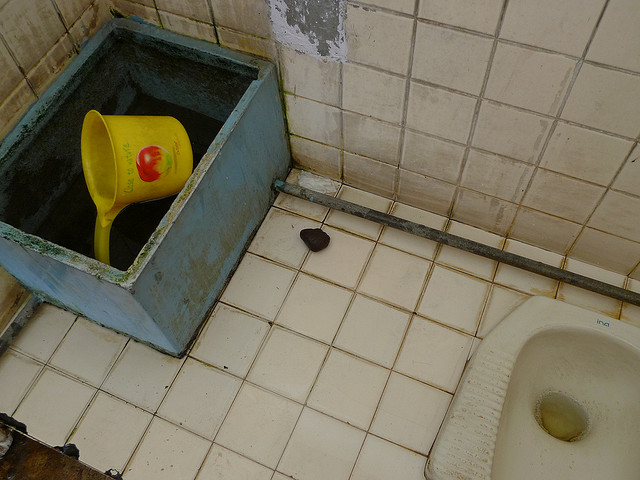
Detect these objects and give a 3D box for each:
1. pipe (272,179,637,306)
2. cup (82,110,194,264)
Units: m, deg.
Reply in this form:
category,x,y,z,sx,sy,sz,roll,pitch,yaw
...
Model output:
category,x,y,z,sx,sy,sz,roll,pitch,yaw
pipe,0.469,0.023,1.710,1.270,0.053,0.051,18,5,11
cup,-0.606,-0.228,1.664,0.278,0.522,0.333,17,14,32
